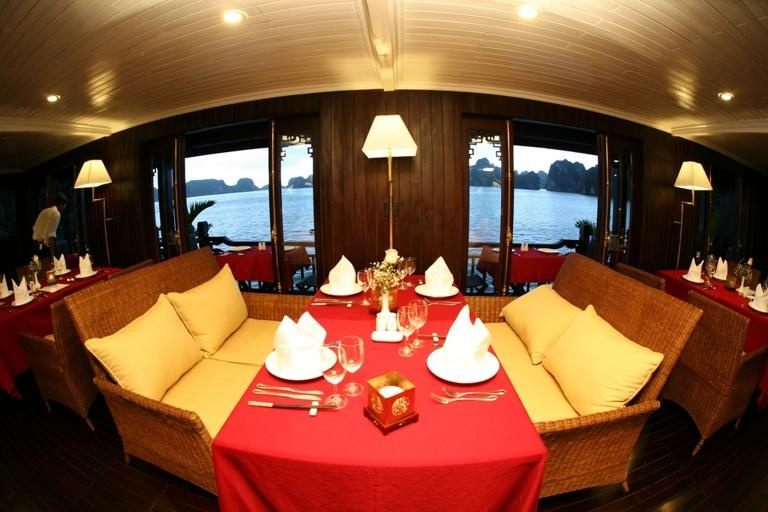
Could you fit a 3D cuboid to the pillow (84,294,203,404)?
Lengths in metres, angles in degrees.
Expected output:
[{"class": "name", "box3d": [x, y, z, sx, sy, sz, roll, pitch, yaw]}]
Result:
[{"class": "pillow", "box3d": [-2.095, 0.827, 4.283, 0.454, 0.777, 0.792, 2, 9, 31]}]

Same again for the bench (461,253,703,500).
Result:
[{"class": "bench", "box3d": [1.434, 1.069, 4.725, 1.878, 1.668, 2.054, -3, 22, -19]}]

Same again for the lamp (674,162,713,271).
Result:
[{"class": "lamp", "box3d": [4.136, -0.355, 6.548, 0.431, 1.796, 0.463, 4, 1, 35]}]

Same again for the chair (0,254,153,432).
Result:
[{"class": "chair", "box3d": [-2.960, 0.904, 4.634, 0.763, 1.489, 1.054, 8, 24, 16]}]

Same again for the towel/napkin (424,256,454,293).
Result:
[{"class": "towel/napkin", "box3d": [0.569, 0.270, 4.987, 0.283, 0.139, 0.373, 4, 36, 7]}]

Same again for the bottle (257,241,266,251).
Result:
[{"class": "bottle", "box3d": [-1.806, -0.144, 7.204, 0.109, 0.121, 0.116, 0, 9, 4]}]

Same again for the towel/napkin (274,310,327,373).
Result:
[{"class": "towel/napkin", "box3d": [-0.685, 0.725, 3.962, 0.405, 0.175, 0.427, 17, 27, 21]}]

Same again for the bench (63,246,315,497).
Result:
[{"class": "bench", "box3d": [-1.596, 0.930, 4.748, 1.432, 1.572, 1.961, 7, 24, 21]}]

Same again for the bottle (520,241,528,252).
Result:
[{"class": "bottle", "box3d": [2.039, -0.118, 7.086, 0.090, 0.140, 0.138, 0, 3, 11]}]

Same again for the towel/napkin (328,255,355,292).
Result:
[{"class": "towel/napkin", "box3d": [-0.417, 0.185, 5.111, 0.237, 0.373, 0.122, -2, -2, 5]}]
